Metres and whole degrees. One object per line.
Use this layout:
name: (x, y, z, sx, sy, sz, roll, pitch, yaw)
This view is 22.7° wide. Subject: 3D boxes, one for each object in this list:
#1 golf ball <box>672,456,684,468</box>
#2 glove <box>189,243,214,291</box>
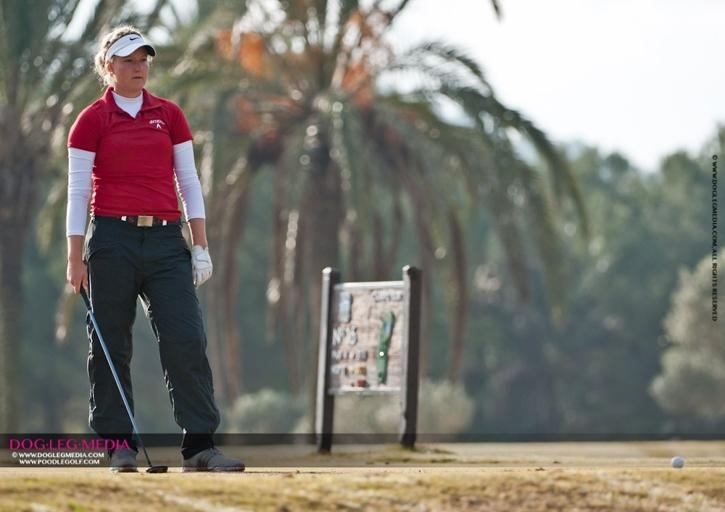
golf ball: (5.159, 3.344, 29.450, 0.135, 0.179, 0.175, 12, -26, -40)
glove: (-2.522, 0.143, 29.139, 0.479, 0.244, 0.844, 25, 11, -11)
